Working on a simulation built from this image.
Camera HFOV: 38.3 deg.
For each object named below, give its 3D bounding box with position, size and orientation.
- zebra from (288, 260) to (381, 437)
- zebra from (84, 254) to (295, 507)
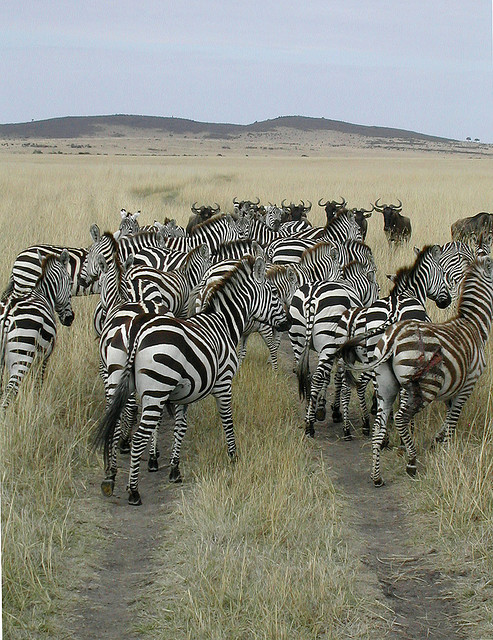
[{"bbox_3d":[0.910,0.249,7.275,0.552,1.618,2.323,1,5,23],"label":"zebra"},{"bbox_3d":[-0.404,0.366,5.274,0.463,1.667,2.159,5,7,35],"label":"zebra"}]
